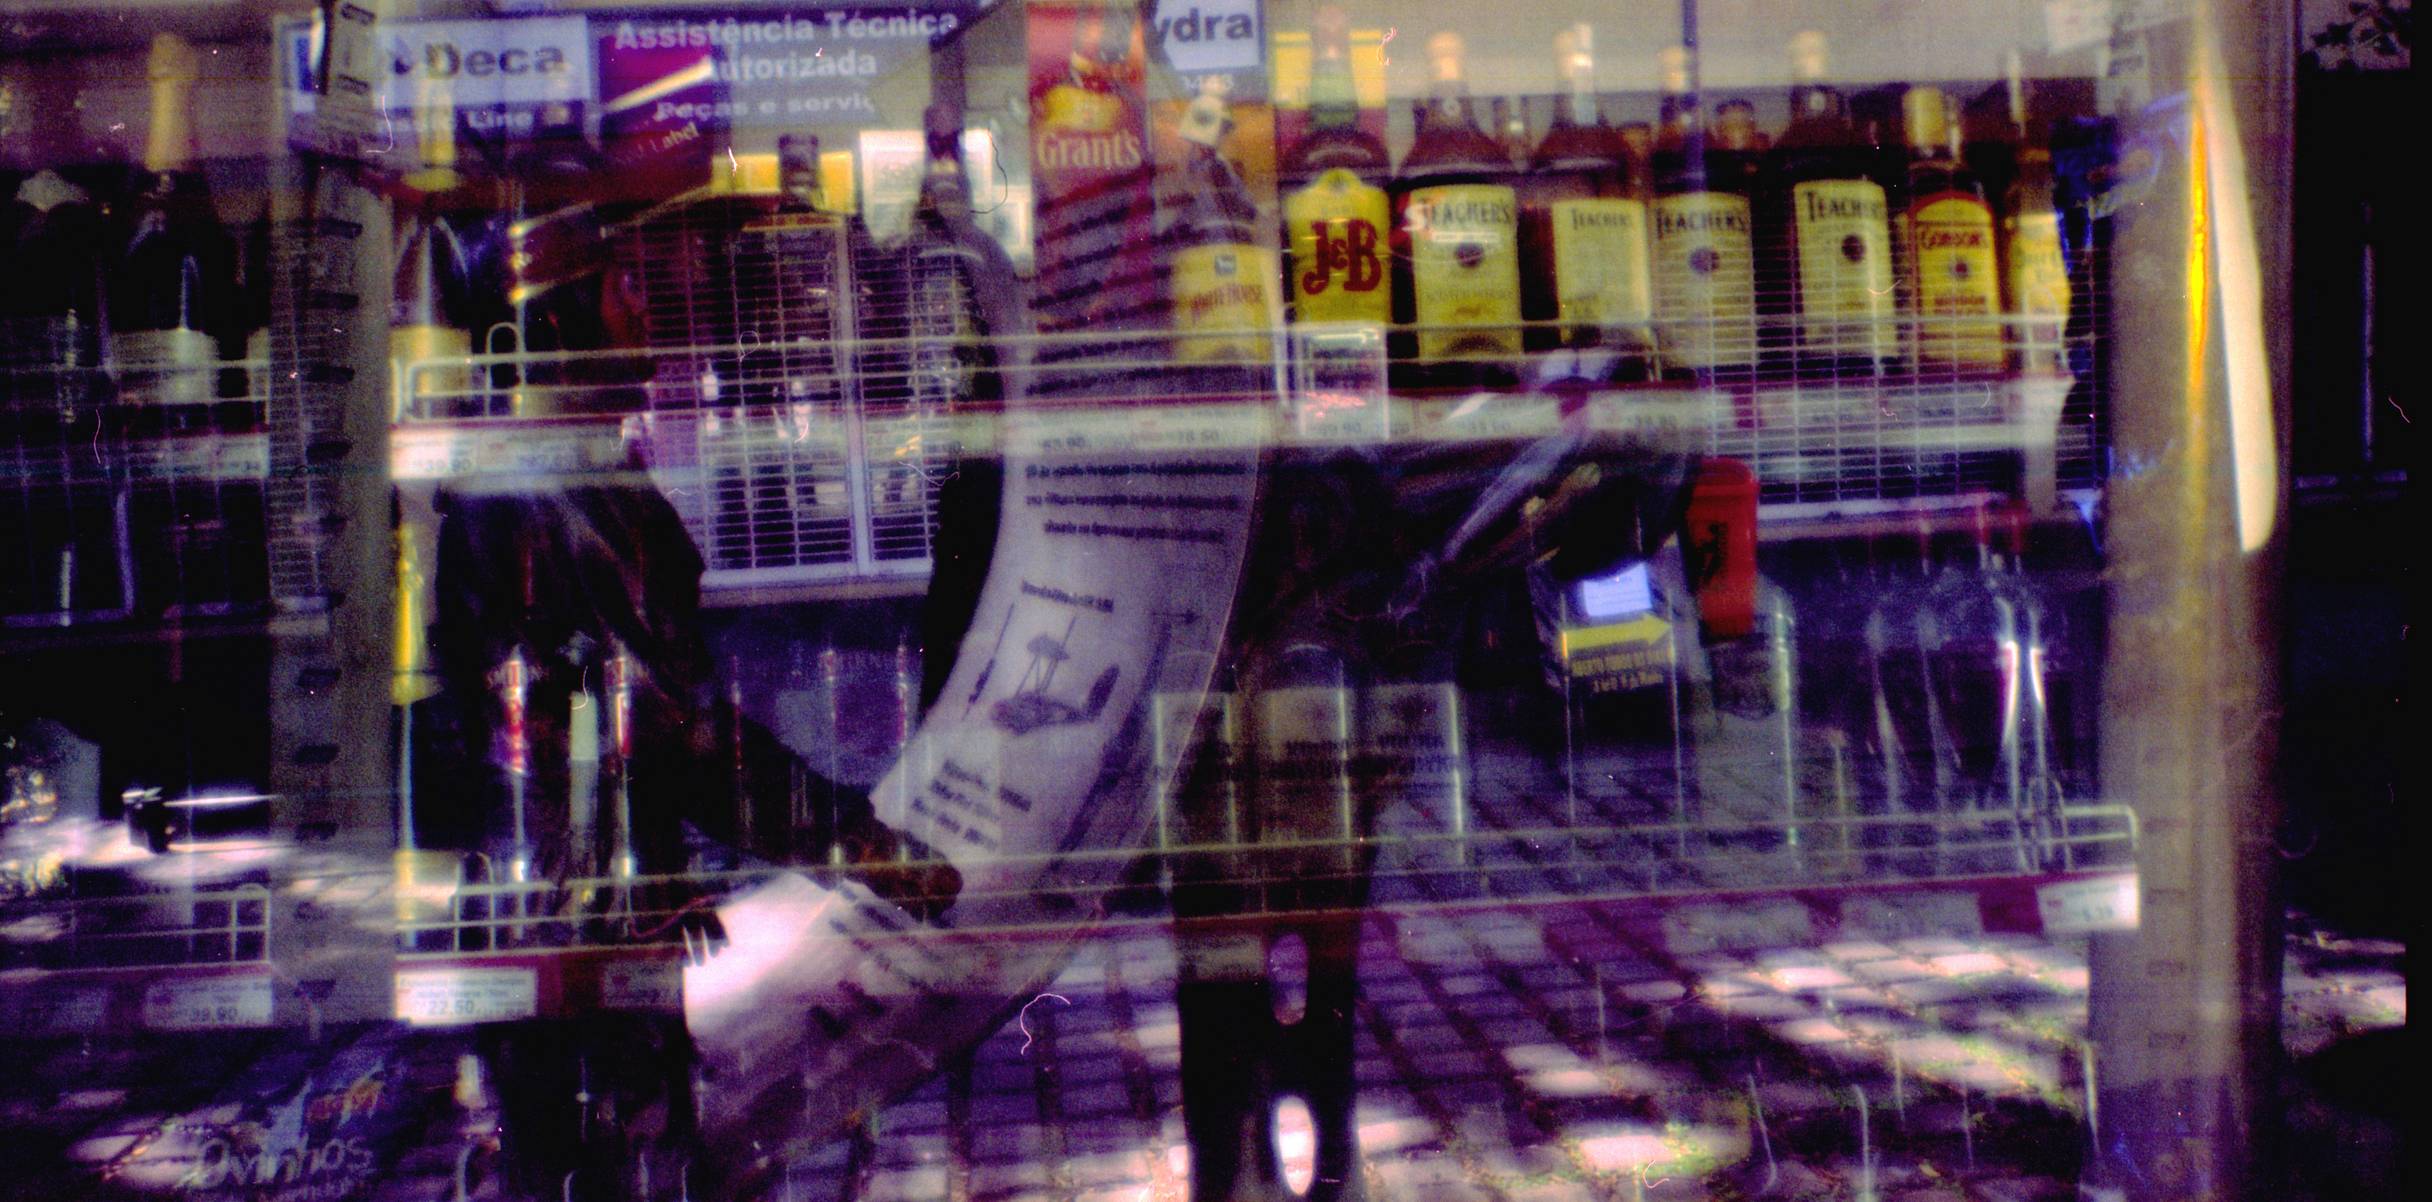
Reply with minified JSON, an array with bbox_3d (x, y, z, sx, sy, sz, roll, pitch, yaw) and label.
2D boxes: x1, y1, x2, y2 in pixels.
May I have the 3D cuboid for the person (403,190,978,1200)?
[{"bbox_3d":[-1.033,0.198,4.460,1.322,1.569,0.583,-1,4,-7],"label":"person"}]
